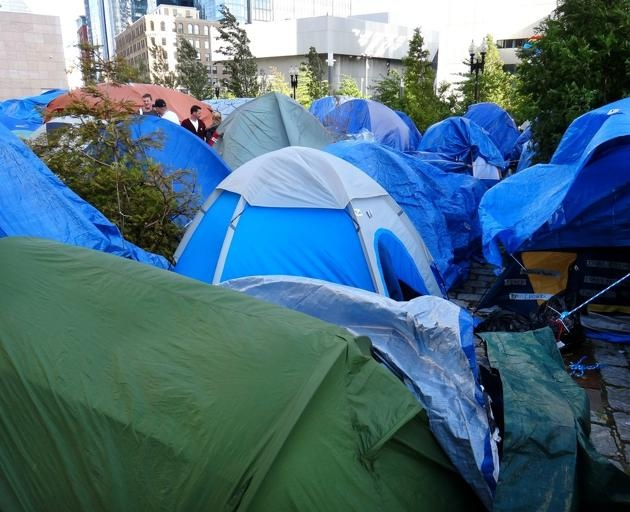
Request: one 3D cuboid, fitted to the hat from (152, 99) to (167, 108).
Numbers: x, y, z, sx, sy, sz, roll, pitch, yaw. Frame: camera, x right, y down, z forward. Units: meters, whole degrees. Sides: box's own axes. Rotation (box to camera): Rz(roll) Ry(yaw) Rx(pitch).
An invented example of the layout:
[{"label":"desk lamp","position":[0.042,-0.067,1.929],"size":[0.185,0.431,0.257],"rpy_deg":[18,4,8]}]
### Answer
[{"label":"hat","position":[-2.761,-2.689,9.074],"size":[0.201,0.168,0.276],"rpy_deg":[-15,24,-26]}]
